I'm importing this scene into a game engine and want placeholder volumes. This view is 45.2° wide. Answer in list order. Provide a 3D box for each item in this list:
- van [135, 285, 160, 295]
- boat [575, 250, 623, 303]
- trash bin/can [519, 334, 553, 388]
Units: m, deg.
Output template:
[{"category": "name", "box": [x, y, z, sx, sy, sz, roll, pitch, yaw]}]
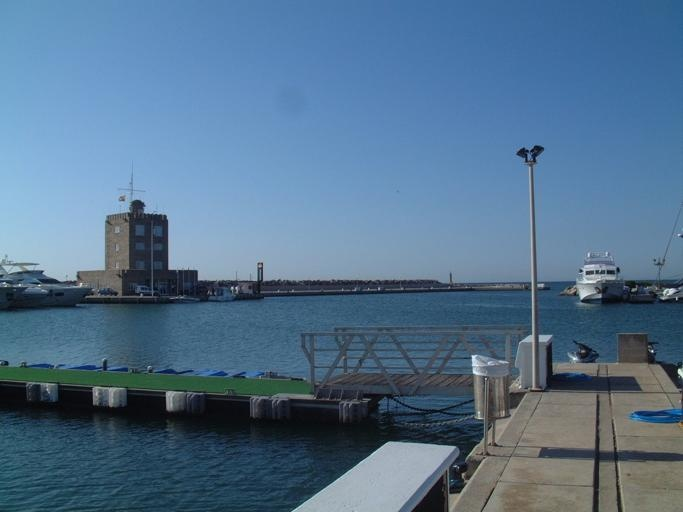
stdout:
[{"category": "van", "box": [-33.220, 5.900, 140.757, 3.581, 1.437, 1.757, -1, 2, -9]}, {"category": "boat", "box": [34.104, 2.962, 107.973, 5.079, 6.007, 5.144, -2, -1, 7]}, {"category": "trash bin/can", "box": [6.091, 3.351, 25.828, 0.821, 0.957, 2.125, 0, -2, 29]}]
